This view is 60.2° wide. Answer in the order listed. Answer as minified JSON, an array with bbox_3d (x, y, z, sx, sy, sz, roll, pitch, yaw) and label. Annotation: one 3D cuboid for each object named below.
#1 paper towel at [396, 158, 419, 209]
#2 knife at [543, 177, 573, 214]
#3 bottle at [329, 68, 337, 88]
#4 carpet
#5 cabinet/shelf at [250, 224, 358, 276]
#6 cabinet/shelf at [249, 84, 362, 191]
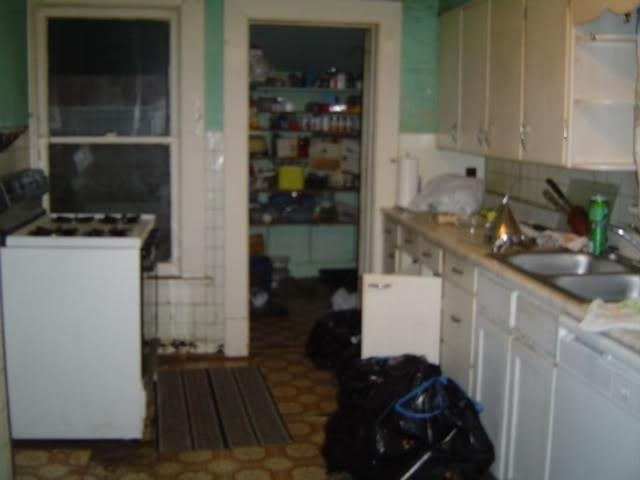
[{"bbox_3d":[0.691,-0.451,4.297,0.150,0.384,0.163,-12,19,-43],"label":"paper towel"},{"bbox_3d":[1.477,-0.285,3.415,0.038,0.227,0.052,-37,-42,21],"label":"knife"},{"bbox_3d":[0.146,-1.841,6.303,0.089,0.230,0.124,1,14,1],"label":"bottle"},{"bbox_3d":[-0.675,1.032,3.540,0.795,0.069,1.028,-3,15,-16],"label":"carpet"},{"bbox_3d":[-0.150,0.111,6.588,1.169,0.600,0.235,-2,14,-12],"label":"cabinet/shelf"},{"bbox_3d":[-0.167,-1.145,6.306,1.376,1.164,0.445,0,5,0],"label":"cabinet/shelf"}]
